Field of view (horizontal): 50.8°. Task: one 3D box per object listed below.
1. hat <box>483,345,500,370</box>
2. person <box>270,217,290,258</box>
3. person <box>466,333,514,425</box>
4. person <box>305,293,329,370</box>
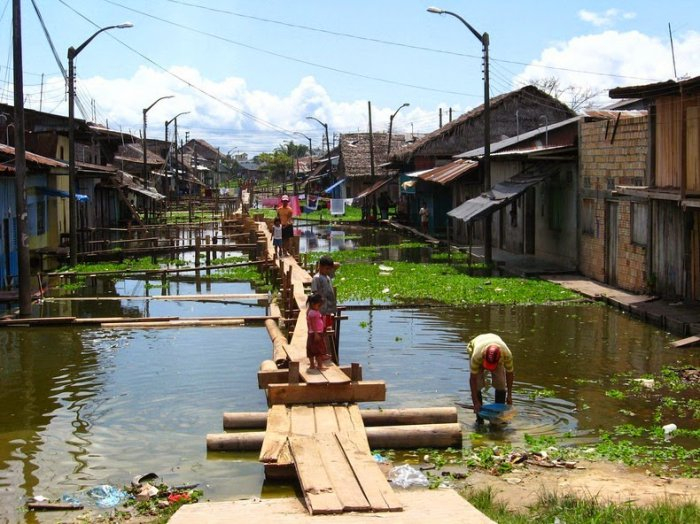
[{"bbox_3d":[2.298,1.572,12.061,0.265,0.404,0.265,0,9,10],"label":"hat"},{"bbox_3d":[-2.634,-0.937,27.736,0.550,1.466,1.889,-2,9,-5],"label":"person"},{"bbox_3d":[2.362,1.975,12.493,0.764,1.442,0.770,-8,11,-38],"label":"person"},{"bbox_3d":[-0.605,1.210,12.912,0.330,1.325,0.412,-3,9,-8],"label":"person"}]
